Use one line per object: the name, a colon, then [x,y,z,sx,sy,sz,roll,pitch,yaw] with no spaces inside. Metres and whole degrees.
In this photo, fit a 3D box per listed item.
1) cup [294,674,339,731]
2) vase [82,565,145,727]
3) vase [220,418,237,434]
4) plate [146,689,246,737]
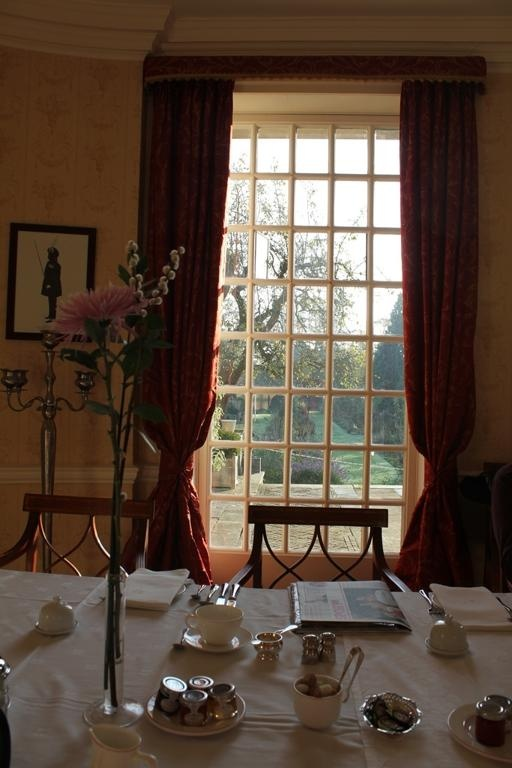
cup: [0.096,0.494,0.999,0.071,0.064,0.088,1,2,5]
vase: [-0.220,0.415,1.013,0.090,0.215,0.125,1,2,-1]
vase: [-0.147,0.229,3.460,0.071,0.058,0.071,1,-4,-38]
plate: [-0.094,0.516,0.995,0.156,0.017,0.109,1,2,-7]
